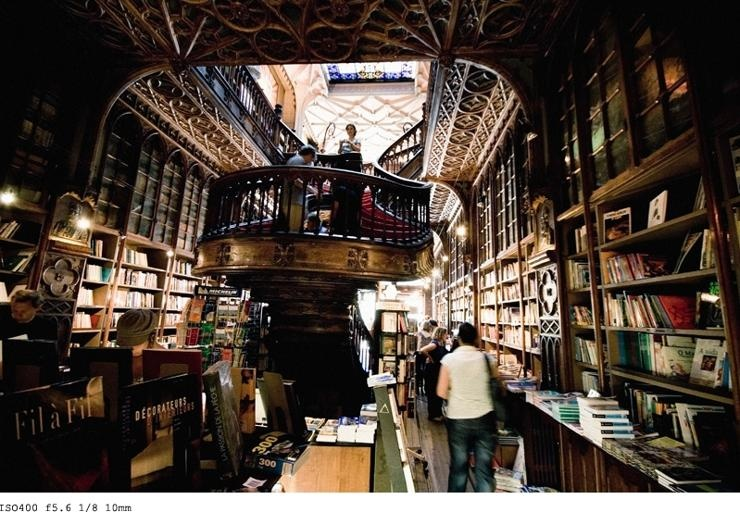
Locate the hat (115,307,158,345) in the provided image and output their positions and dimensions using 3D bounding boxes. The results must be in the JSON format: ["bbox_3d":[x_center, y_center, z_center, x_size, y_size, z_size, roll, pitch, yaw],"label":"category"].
[{"bbox_3d":[-1.910,0.598,3.829,0.262,0.308,0.325,-2,-4,18],"label":"hat"}]

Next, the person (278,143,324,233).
[{"bbox_3d":[-0.826,-0.836,5.385,0.367,1.383,0.966,2,-13,-7],"label":"person"}]
